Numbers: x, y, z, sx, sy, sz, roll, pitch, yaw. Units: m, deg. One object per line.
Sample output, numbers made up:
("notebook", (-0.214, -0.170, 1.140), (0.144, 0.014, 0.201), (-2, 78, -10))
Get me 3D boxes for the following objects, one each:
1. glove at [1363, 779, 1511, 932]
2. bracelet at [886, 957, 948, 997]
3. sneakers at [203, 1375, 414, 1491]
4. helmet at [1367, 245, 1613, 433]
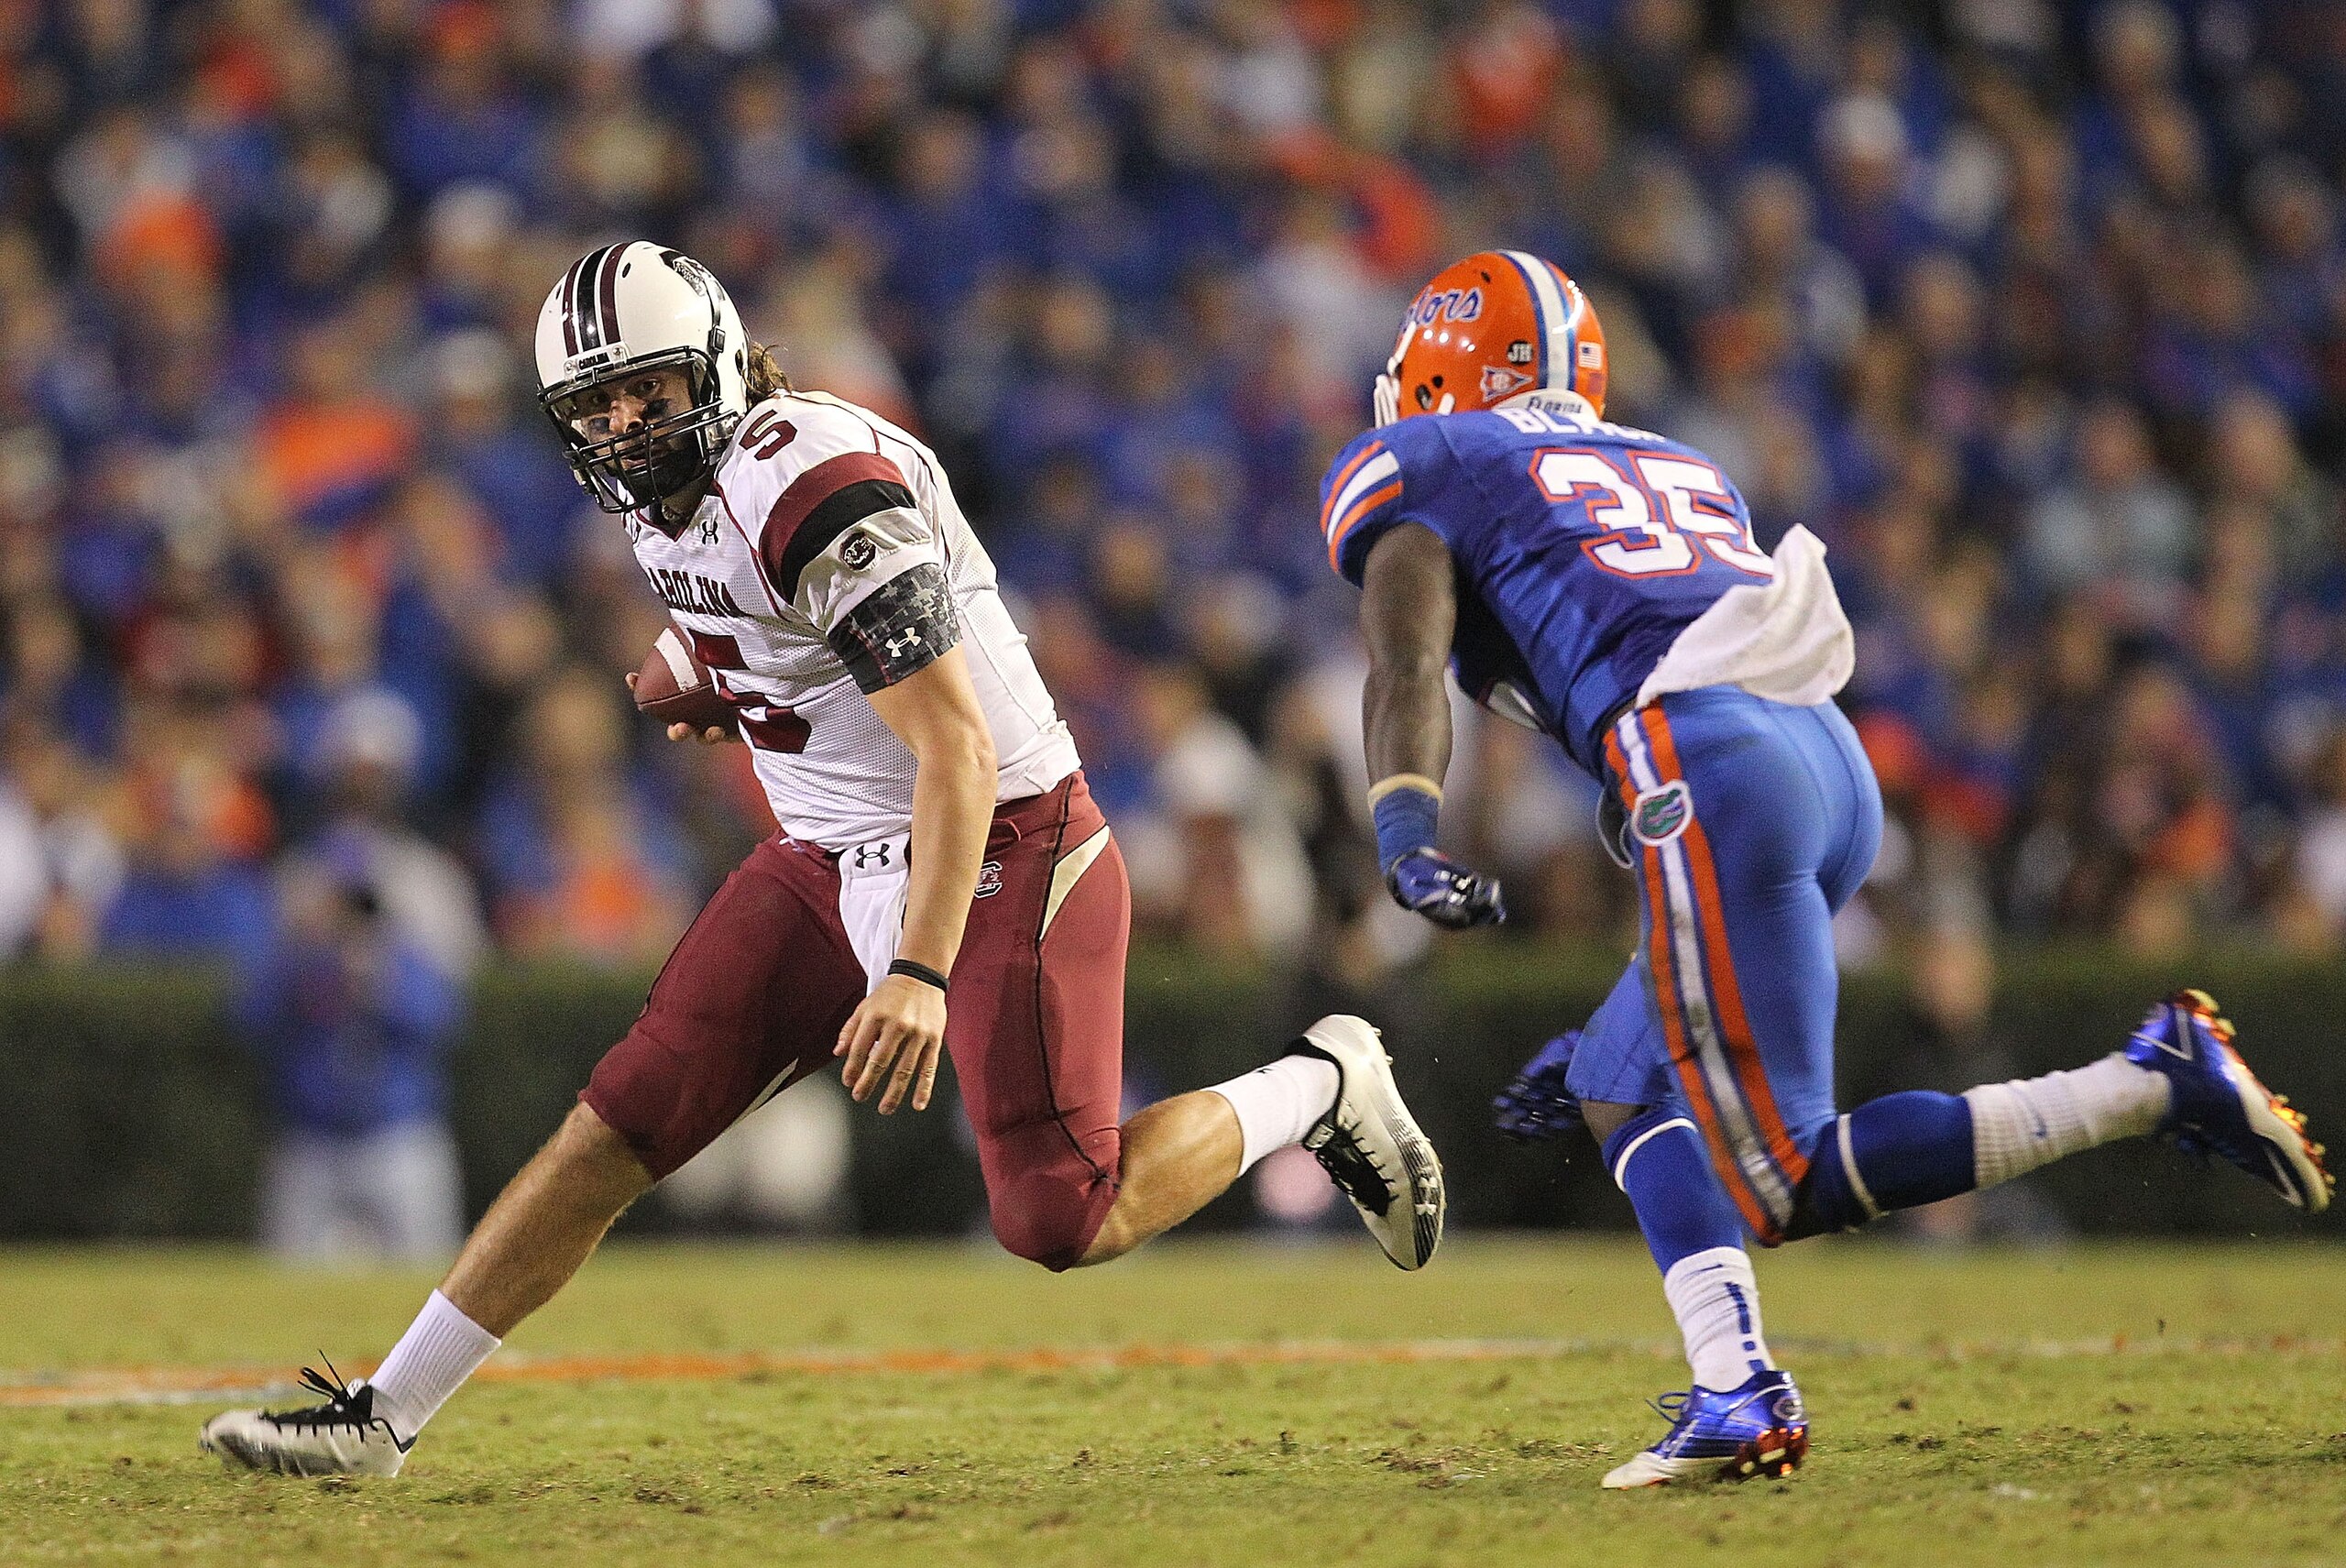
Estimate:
("glove", (0.607, 0.144, 7.351), (0.178, 0.562, 0.167), (18, -62, -34))
("bracelet", (-0.601, 0.437, 7.227), (0.121, 0.063, 0.114), (5, 13, 11))
("sneakers", (-2.174, 1.612, 7.666), (0.529, 0.277, 0.196), (-7, -11, 22))
("helmet", (0.833, -1.175, 8.017), (0.561, 0.464, 0.423), (17, 20, 33))
